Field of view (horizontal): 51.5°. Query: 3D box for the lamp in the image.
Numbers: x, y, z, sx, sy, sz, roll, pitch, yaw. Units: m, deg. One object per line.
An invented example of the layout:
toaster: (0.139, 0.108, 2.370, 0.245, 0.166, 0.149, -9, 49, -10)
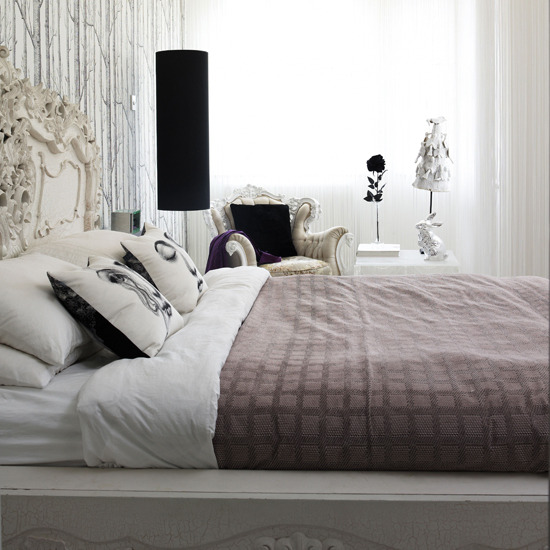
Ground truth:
lamp: (-0.627, -1.003, 3.911, 0.346, 1.042, 0.354, -9, 21, -30)

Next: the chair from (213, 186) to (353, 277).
chair: (0.027, -0.295, 4.254, 0.817, 1.121, 0.757, -3, -2, -26)
